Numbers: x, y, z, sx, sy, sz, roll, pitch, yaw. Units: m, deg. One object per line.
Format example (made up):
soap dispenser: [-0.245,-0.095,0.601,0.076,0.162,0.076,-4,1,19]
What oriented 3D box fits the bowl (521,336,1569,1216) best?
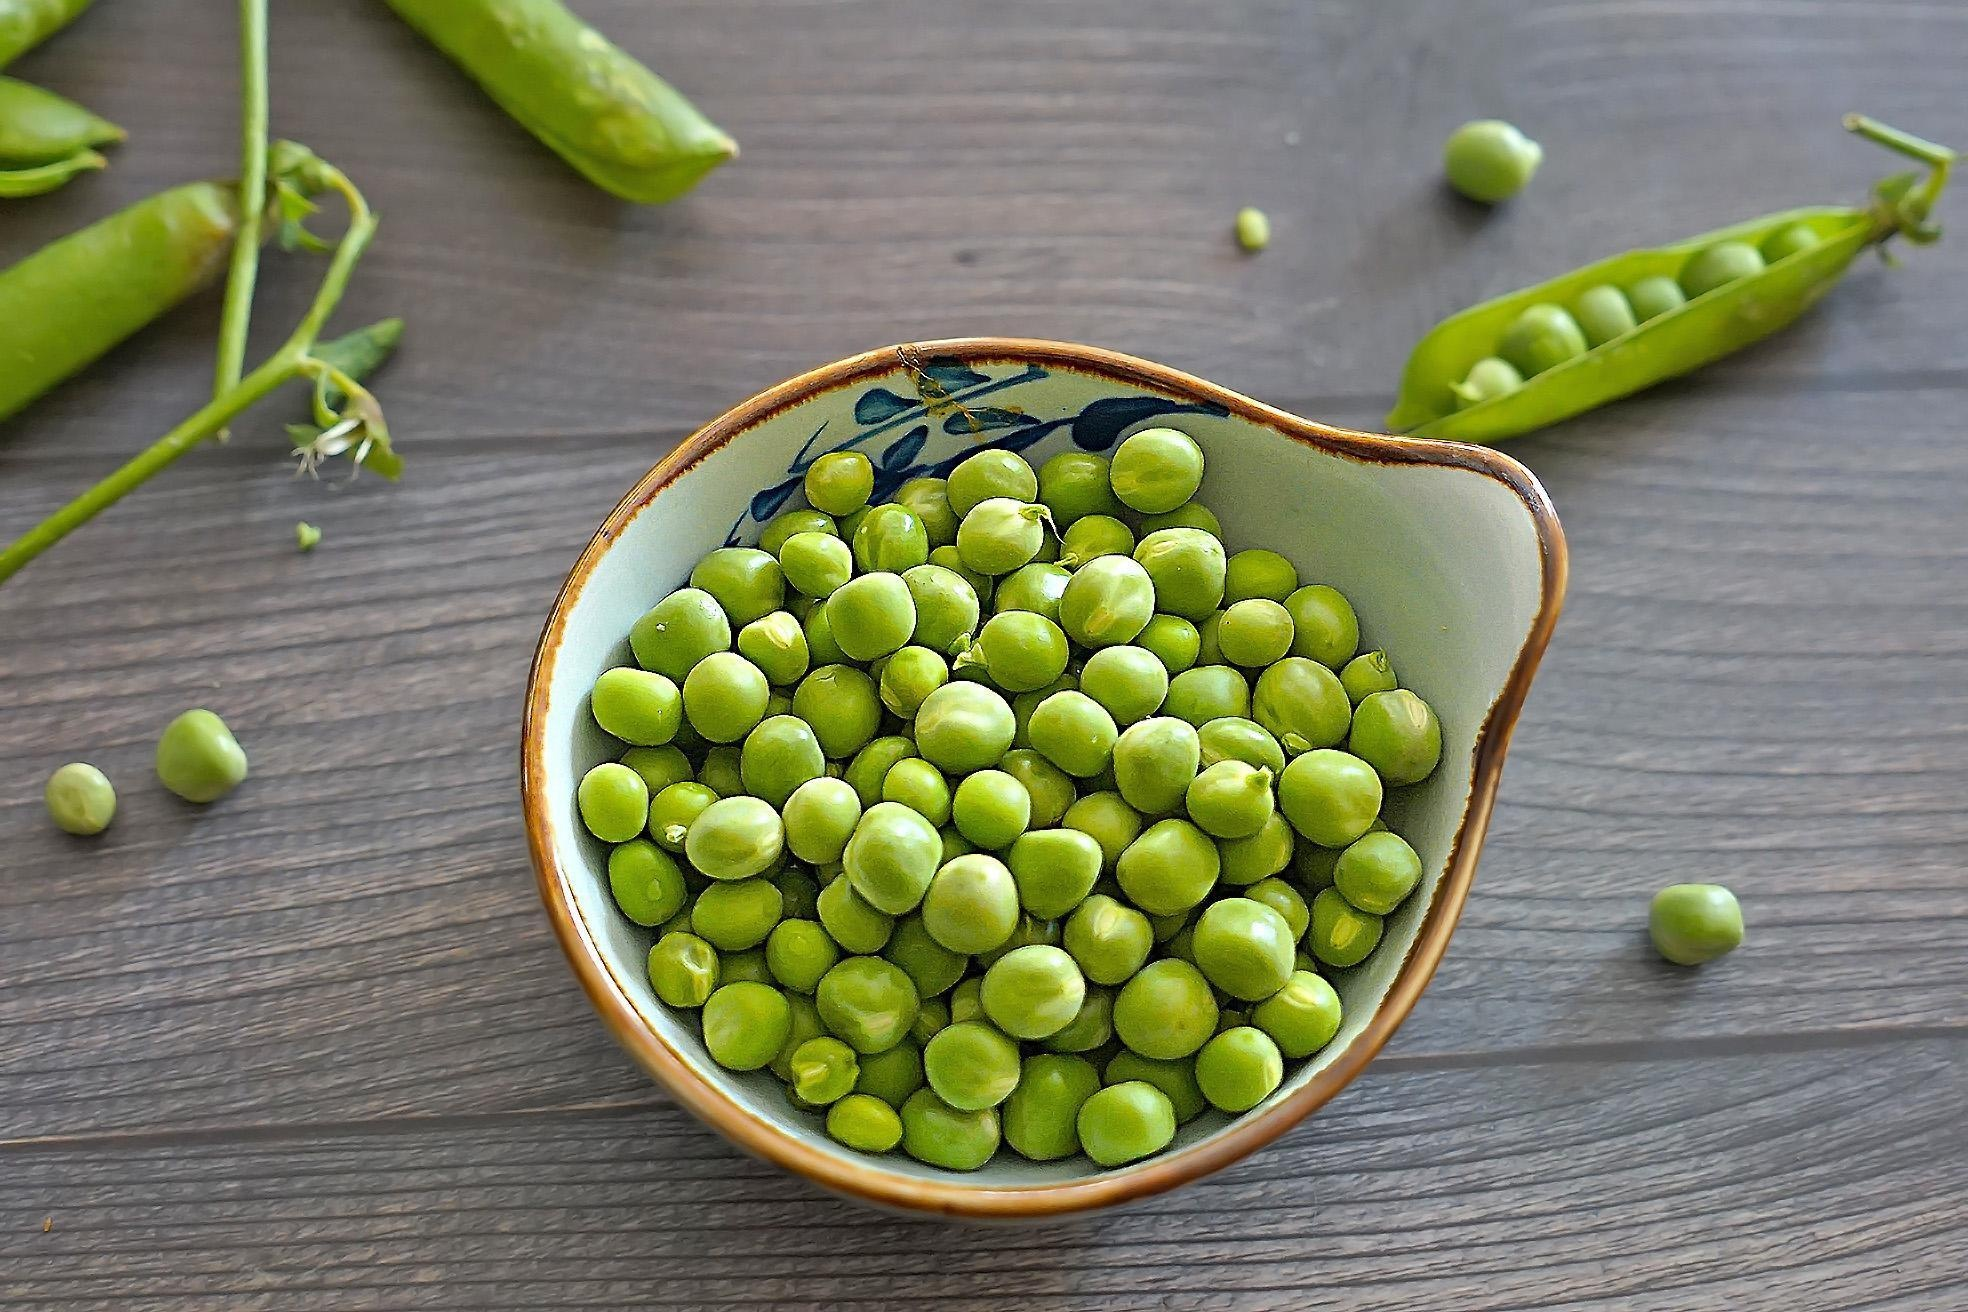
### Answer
bowl: [0.010,0.073,1.513,0.630,0.159,0.595,1,69,-2]
